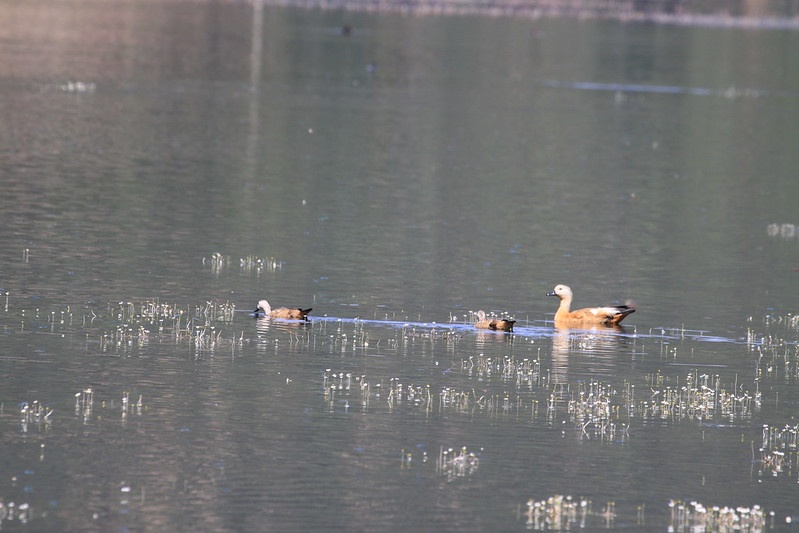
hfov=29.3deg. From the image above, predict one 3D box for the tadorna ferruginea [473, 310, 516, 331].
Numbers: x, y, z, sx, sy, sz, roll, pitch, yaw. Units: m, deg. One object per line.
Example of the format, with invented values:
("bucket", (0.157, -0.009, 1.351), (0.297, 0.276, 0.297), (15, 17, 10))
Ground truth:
("tadorna ferruginea", (2.765, 1.564, 44.506), (0.509, 0.653, 1.385), (2, 4, -43))
